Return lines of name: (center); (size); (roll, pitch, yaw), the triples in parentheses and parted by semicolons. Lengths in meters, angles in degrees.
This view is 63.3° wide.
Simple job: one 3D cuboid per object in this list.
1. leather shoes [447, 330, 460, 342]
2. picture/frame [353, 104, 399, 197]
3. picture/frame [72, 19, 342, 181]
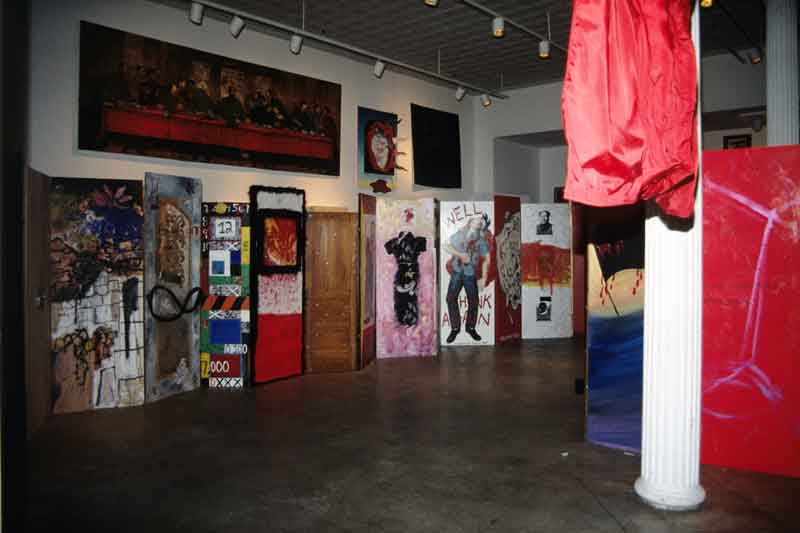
leather shoes: (0.907, 1.190, 11.275); (0.106, 0.299, 0.117); (34, 14, 7)
picture/frame: (-0.389, -2.034, 11.296); (0.109, 1.438, 1.055); (3, 6, 37)
picture/frame: (-2.541, -2.265, 9.169); (3.840, 1.500, 0.023); (-1, -1, -42)
